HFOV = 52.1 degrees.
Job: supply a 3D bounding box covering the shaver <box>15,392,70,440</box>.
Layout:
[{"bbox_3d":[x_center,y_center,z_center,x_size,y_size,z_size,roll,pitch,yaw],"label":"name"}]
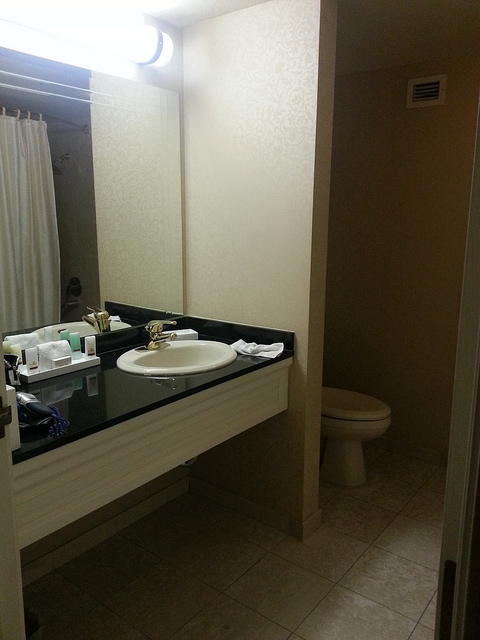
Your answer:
[{"bbox_3d":[-0.474,0.224,1.183,0.099,0.051,0.236,-5,11,-36],"label":"shaver"}]
